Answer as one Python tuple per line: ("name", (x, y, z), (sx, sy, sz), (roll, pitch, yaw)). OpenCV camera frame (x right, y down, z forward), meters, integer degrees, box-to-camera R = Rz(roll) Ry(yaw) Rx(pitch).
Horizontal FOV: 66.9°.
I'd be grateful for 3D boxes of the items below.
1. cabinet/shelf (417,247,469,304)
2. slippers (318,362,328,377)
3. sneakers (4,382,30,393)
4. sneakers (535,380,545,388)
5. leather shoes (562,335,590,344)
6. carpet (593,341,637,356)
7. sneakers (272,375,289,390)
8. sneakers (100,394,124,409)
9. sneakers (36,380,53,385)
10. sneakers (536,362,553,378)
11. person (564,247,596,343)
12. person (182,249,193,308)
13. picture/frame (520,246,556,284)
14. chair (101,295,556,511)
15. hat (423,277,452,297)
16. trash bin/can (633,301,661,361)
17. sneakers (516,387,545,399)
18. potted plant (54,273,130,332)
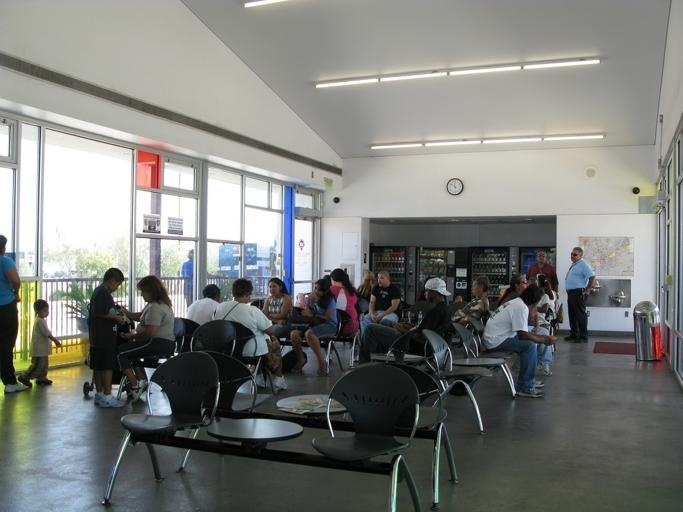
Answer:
("cabinet/shelf", (2.527, 0.450, 12.615), (1.376, 1.767, 0.643), (0, -4, 11))
("slippers", (-0.261, 1.598, 7.316), (0.144, 0.113, 0.424), (-1, -3, 1))
("sneakers", (-3.979, 1.608, 6.386), (0.299, 0.137, 0.102), (5, 2, -35))
("sneakers", (2.637, 1.708, 6.906), (0.071, 0.093, 0.209), (-1, -13, 8))
("leather shoes", (4.912, 1.743, 10.856), (0.476, 0.220, 0.174), (2, 3, 29))
("carpet", (5.284, 1.765, 10.028), (0.673, 0.095, 1.855), (1, -3, 29))
("sneakers", (-0.778, 1.595, 6.545), (0.130, 0.118, 0.265), (-1, -12, 5))
("sneakers", (-2.579, 1.629, 5.816), (0.253, 0.119, 0.123), (2, -3, -2))
("sneakers", (-3.863, 1.641, 6.738), (0.172, 0.087, 0.067), (0, -2, -8))
("sneakers", (3.020, 1.675, 7.761), (0.143, 0.212, 0.456), (1, 8, 11))
("person", (4.978, 0.790, 10.840), (0.505, 1.971, 0.548), (1, -3, 26))
("person", (-2.886, 0.446, 9.781), (0.199, 0.981, 0.187), (8, 11, 26))
("picture/frame", (4.439, 0.184, 11.653), (0.703, 1.411, 0.735), (-1, 4, 25))
("chair", (-0.225, 1.224, 3.649), (2.454, 1.023, 1.627), (3, -3, -22))
("hat", (1.204, 0.369, 6.591), (0.387, 0.216, 0.263), (9, 3, 8))
("trash bin/can", (5.114, 1.243, 8.638), (0.393, 0.979, 0.368), (1, -3, 29))
("sneakers", (2.336, 1.672, 6.427), (0.343, 0.169, 0.127), (-2, -4, 14))
("potted plant", (-4.063, 0.720, 8.337), (1.213, 0.922, 1.240), (1, 0, 6))
